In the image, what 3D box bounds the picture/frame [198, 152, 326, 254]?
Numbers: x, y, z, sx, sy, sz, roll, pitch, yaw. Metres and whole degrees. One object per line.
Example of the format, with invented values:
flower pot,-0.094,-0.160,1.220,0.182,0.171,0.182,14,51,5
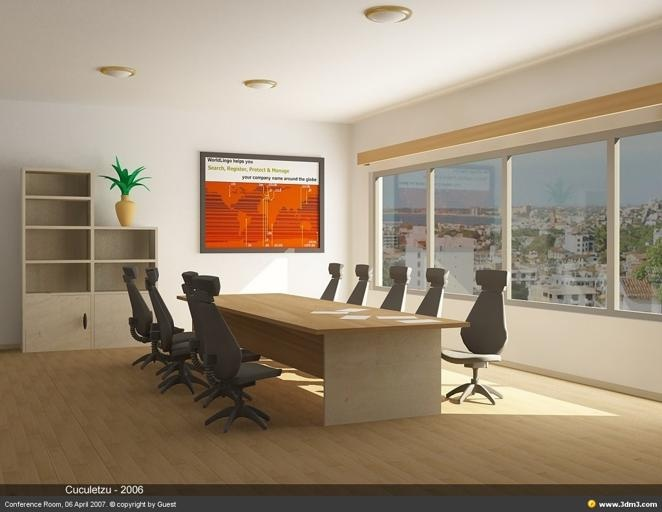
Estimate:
picture/frame,-1.514,-1.074,9.004,2.702,1.602,0.096,0,-1,-19
